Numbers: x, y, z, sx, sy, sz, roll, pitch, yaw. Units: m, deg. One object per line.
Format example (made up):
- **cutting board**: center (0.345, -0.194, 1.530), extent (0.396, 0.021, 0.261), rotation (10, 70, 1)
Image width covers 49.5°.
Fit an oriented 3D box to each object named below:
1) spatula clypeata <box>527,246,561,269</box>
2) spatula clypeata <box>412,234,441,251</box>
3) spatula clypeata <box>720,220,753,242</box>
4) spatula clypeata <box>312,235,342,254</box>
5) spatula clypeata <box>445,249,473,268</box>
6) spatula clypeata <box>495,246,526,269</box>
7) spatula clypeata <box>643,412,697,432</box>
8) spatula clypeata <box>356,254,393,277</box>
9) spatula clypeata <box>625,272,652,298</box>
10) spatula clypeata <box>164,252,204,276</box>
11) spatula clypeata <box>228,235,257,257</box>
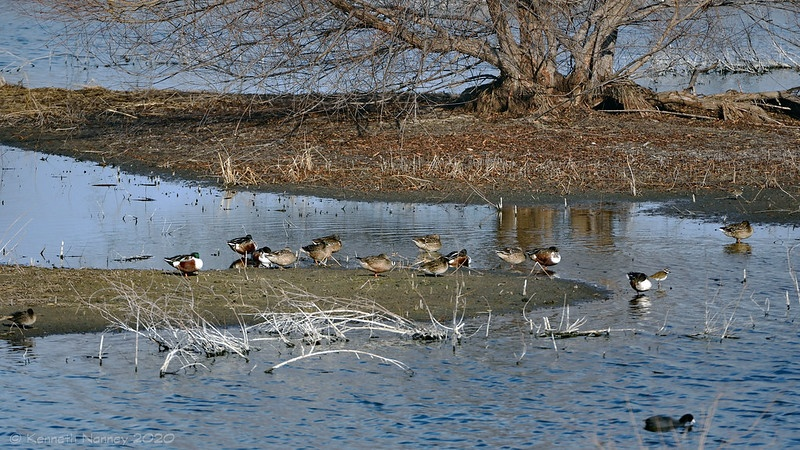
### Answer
- **spatula clypeata**: center (3.550, 0.791, 21.389), extent (0.711, 0.522, 0.532), rotation (0, -4, -8)
- **spatula clypeata**: center (0.693, 0.460, 22.328), extent (0.634, 0.438, 0.526), rotation (-1, -4, 5)
- **spatula clypeata**: center (9.129, 0.193, 23.639), extent (0.702, 0.578, 0.538), rotation (-2, -4, 24)
- **spatula clypeata**: center (-1.807, 0.466, 22.114), extent (0.729, 0.399, 0.434), rotation (16, 8, -12)
- **spatula clypeata**: center (1.416, 0.837, 21.268), extent (0.602, 0.203, 0.446), rotation (0, 6, 40)
- **spatula clypeata**: center (2.865, 0.770, 21.756), extent (0.901, 0.415, 0.388), rotation (9, 8, 9)
- **spatula clypeata**: center (4.757, 3.560, 15.586), extent (0.932, 0.301, 0.296), rotation (-1, 46, -2)
- **spatula clypeata**: center (-0.589, 0.973, 20.887), extent (0.742, 0.522, 0.794), rotation (0, -3, -3)
- **spatula clypeata**: center (5.535, 1.257, 20.061), extent (0.384, 0.381, 0.651), rotation (-3, 25, -13)
- **spatula clypeata**: center (-5.032, 0.898, 20.389), extent (0.972, 0.490, 0.469), rotation (3, 8, 8)
- **spatula clypeata**: center (-3.896, 0.524, 22.017), extent (0.868, 0.412, 0.405), rotation (3, 41, 22)
